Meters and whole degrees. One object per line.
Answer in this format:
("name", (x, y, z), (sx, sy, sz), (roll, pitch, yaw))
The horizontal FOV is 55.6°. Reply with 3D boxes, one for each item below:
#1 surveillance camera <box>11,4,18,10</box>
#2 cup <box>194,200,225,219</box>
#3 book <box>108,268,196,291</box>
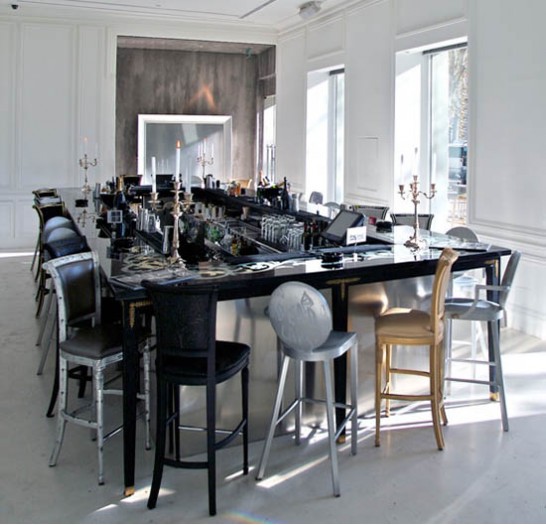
("surveillance camera", (-4.042, -4.017, 8.116), (0.056, 0.061, 0.072), (8, 26, 13))
("cup", (-0.741, -0.591, 6.014), (0.255, 0.193, 0.435), (2, 7, -41))
("book", (-0.602, 0.078, 2.618), (0.293, 0.031, 0.431), (10, 14, 41))
